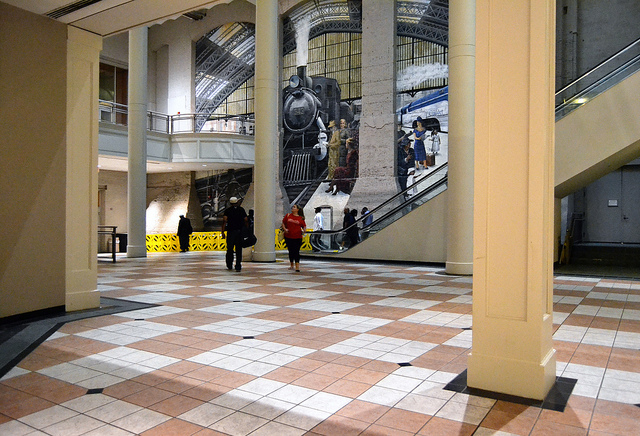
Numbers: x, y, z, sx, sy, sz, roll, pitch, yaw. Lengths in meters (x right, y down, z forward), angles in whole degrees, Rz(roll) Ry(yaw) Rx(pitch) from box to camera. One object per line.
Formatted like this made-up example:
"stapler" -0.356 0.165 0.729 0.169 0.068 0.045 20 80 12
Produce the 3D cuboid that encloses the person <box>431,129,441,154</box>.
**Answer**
"person" 5.700 -3.740 22.988 0.439 1.204 0.357 1 4 17

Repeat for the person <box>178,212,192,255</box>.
"person" -5.691 0.661 19.474 0.516 1.490 1.135 -1 3 -16

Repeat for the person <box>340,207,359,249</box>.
"person" 0.980 0.405 15.113 0.545 1.065 1.611 1 3 4
